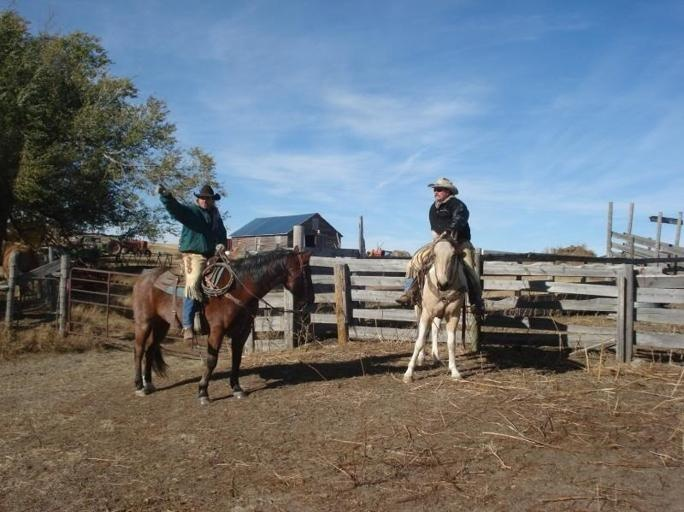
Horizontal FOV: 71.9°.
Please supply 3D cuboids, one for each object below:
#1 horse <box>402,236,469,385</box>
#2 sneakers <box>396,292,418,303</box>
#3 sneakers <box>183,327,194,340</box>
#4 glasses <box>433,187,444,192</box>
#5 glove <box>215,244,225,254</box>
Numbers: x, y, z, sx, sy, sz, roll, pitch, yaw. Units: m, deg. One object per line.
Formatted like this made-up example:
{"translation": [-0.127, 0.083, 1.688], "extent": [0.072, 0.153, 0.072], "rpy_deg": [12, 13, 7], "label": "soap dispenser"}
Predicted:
{"translation": [1.694, 0.929, 8.446], "extent": [1.040, 2.504, 1.500], "rpy_deg": [-2, 5, 14], "label": "horse"}
{"translation": [1.275, 0.785, 8.804], "extent": [0.489, 0.245, 0.143], "rpy_deg": [-4, 2, -2], "label": "sneakers"}
{"translation": [-2.497, 1.270, 7.675], "extent": [0.128, 0.198, 0.209], "rpy_deg": [-9, -9, 33], "label": "sneakers"}
{"translation": [1.824, -1.265, 8.881], "extent": [0.191, 0.066, 0.174], "rpy_deg": [3, -3, -31], "label": "glasses"}
{"translation": [-2.090, -0.132, 8.044], "extent": [0.157, 0.147, 0.042], "rpy_deg": [12, -5, -18], "label": "glove"}
